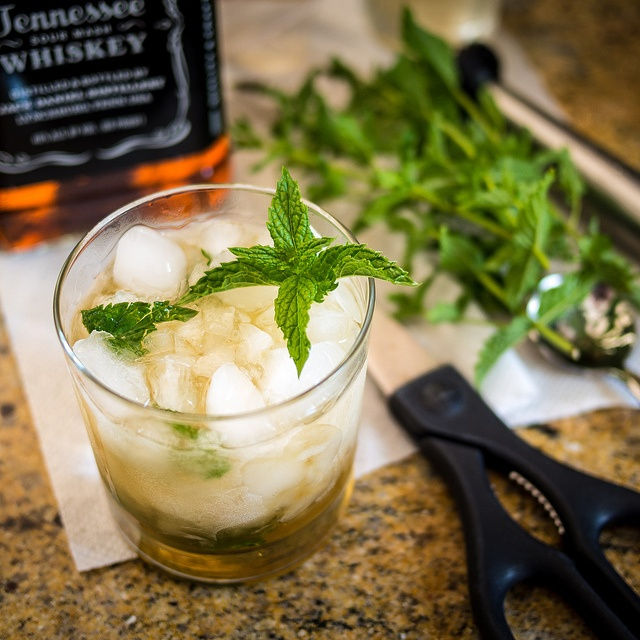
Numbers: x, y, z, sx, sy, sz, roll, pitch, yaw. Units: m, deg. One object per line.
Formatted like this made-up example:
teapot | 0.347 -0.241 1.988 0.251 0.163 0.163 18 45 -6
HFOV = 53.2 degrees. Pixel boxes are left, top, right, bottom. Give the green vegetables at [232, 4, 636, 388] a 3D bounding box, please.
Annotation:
green vegetables | 0.113 -0.127 0.818 0.427 0.414 0.449 11 41 9
